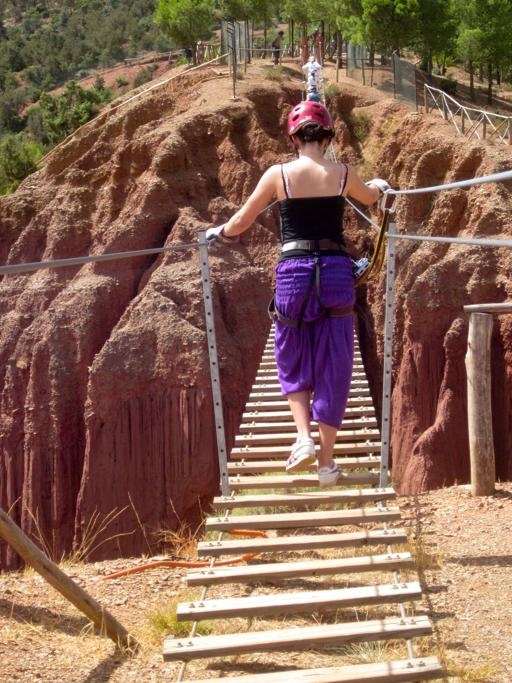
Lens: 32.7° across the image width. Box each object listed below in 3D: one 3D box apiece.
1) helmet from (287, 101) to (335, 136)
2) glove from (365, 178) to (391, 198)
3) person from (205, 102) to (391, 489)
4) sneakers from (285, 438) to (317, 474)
[{"bbox_3d":[0.344,-1.399,5.442,0.223,0.231,0.265,0,25,1],"label":"helmet"},{"bbox_3d":[0.791,-1.036,5.788,0.196,0.086,0.235,-17,1,19],"label":"glove"},{"bbox_3d":[0.294,-0.274,5.404,0.905,2.288,1.069,-1,21,7],"label":"person"},{"bbox_3d":[0.269,0.673,5.305,0.115,0.279,0.124,4,63,-12],"label":"sneakers"}]
